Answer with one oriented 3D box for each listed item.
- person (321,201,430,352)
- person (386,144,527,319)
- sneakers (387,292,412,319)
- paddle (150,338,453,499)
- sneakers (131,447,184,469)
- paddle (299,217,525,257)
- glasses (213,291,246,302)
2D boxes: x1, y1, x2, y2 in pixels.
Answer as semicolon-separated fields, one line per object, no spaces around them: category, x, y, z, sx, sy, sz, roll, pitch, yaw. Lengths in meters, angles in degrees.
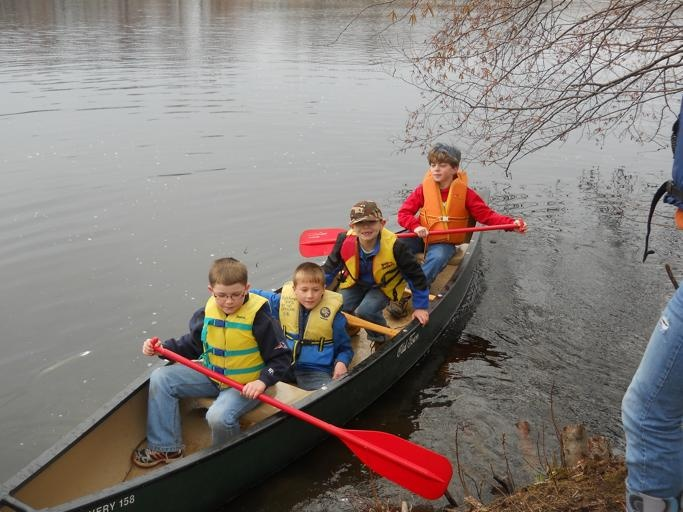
person;0.286;0.191;5.078;0.912;1.178;0.663;14;29;34
person;1.101;-0.450;6.049;1.334;0.602;1.466;7;40;42
sneakers;0.481;0.417;5.429;0.105;0.145;0.321;22;14;18
paddle;-0.321;1.072;4.143;1.975;0.308;0.152;25;-12;9
sneakers;-1.175;1.268;4.074;0.282;0.132;0.113;1;44;-12
paddle;0.667;-0.171;5.731;1.515;0.186;0.349;-4;33;7
glasses;-0.691;0.235;3.953;0.187;0.062;0.077;0;20;-9
